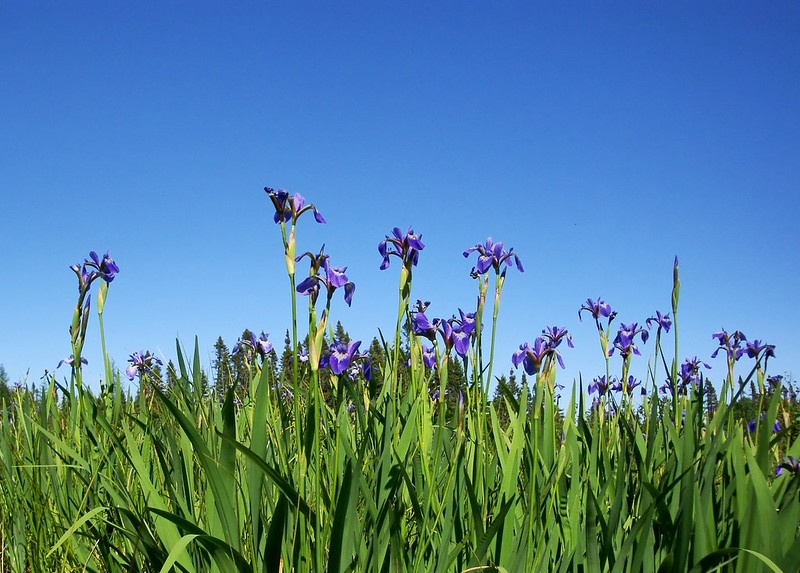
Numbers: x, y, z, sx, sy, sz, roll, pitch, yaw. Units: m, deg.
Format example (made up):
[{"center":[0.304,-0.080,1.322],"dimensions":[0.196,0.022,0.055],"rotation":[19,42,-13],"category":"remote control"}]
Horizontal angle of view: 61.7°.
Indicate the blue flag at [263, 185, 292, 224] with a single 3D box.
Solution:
[{"center":[-0.651,-0.431,3.634],"dimensions":[0.103,0.188,0.117],"rotation":[-5,-13,24],"category":"blue flag"}]
